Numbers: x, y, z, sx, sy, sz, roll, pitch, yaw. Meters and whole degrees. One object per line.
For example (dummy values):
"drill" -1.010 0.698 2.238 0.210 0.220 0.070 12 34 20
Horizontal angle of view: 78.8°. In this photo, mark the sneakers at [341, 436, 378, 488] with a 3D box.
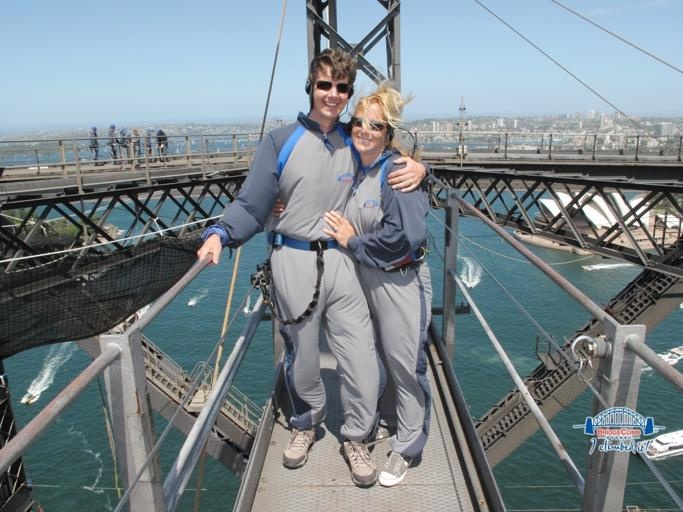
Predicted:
"sneakers" 0.120 1.412 2.893 0.138 0.155 0.335 -4 9 -18

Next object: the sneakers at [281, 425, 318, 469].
"sneakers" -0.316 1.384 3.053 0.119 0.153 0.339 4 2 9

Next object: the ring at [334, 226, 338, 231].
"ring" -0.035 -0.198 2.828 0.032 0.031 0.009 4 7 32

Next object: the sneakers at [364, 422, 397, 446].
"sneakers" 0.306 1.348 3.174 0.129 0.171 0.395 0 -7 20

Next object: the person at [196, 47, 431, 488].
"person" -0.236 0.040 2.852 1.104 2.930 0.511 2 5 -7

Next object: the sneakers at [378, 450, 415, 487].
"sneakers" 0.357 1.441 2.821 0.110 0.115 0.310 7 3 22
